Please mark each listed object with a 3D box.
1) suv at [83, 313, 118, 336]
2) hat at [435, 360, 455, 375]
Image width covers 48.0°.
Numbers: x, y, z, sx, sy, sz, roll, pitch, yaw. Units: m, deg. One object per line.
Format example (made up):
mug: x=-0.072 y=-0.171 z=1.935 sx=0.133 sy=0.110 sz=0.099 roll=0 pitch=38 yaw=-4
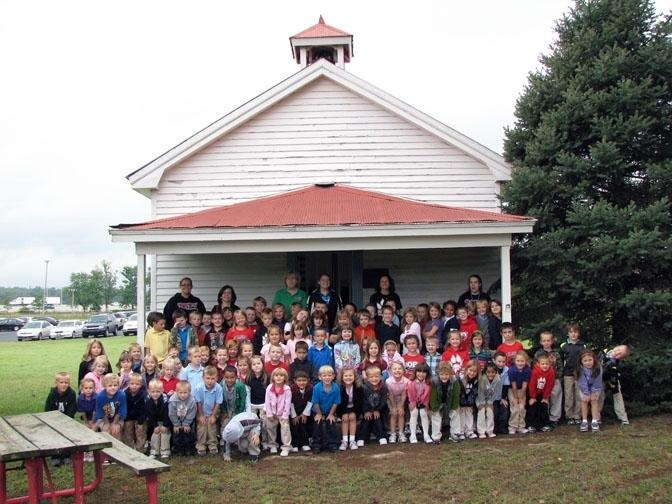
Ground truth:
suv: x=-11.486 y=3.599 z=36.657 sx=0.880 sy=0.763 sz=1.823 roll=-2 pitch=-10 yaw=2
hat: x=1.750 y=1.908 z=12.225 sx=0.193 sy=0.243 sz=0.257 roll=5 pitch=-37 yaw=13
